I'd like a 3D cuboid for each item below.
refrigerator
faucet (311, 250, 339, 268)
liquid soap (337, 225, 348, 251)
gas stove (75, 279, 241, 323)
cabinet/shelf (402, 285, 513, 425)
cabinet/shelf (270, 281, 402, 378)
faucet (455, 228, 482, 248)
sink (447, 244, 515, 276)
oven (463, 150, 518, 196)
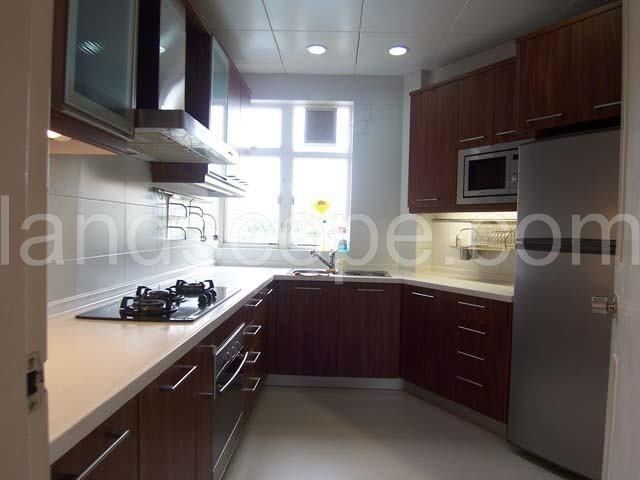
[{"bbox_3d":[1.327,0.324,2.441,0.529,1.813,0.244,5,8,37],"label":"refrigerator"},{"bbox_3d":[0.027,0.167,3.871,0.245,0.184,0.386,1,7,1],"label":"faucet"},{"bbox_3d":[0.213,-0.004,3.993,0.100,0.215,0.294,1,7,3],"label":"liquid soap"},{"bbox_3d":[-0.782,0.281,2.208,0.572,0.100,0.698,2,8,7],"label":"gas stove"},{"bbox_3d":[1.047,0.759,3.199,0.465,0.893,0.867,-4,6,-38],"label":"cabinet/shelf"},{"bbox_3d":[0.186,0.753,3.641,0.986,0.796,0.553,0,-11,13],"label":"cabinet/shelf"},{"bbox_3d":[1.201,-0.023,3.567,0.118,0.247,0.235,-1,0,-25],"label":"faucet"},{"bbox_3d":[1.239,0.177,3.497,0.126,0.248,0.600,-5,9,-38],"label":"sink"},{"bbox_3d":[1.197,-0.461,3.077,0.240,0.313,0.400,3,-2,-38],"label":"oven"}]
